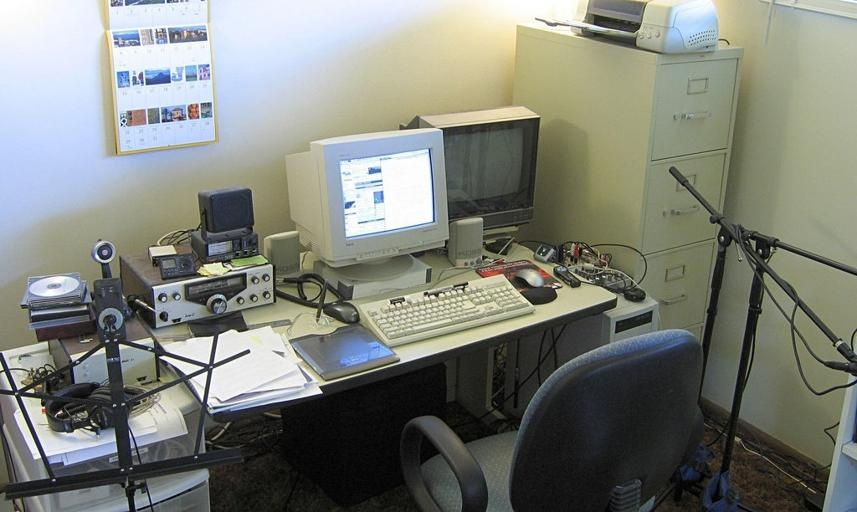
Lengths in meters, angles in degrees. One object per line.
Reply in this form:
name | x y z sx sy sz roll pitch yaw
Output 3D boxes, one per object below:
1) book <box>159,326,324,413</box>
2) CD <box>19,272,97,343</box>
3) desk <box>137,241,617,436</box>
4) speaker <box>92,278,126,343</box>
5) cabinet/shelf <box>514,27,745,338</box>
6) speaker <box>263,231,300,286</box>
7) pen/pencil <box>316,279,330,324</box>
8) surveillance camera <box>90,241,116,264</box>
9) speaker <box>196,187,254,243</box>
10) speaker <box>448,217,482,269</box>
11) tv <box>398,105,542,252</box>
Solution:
book | -0.757 0.435 2.563 0.391 0.050 0.376 -11 33 -28
CD | -1.539 0.205 2.639 0.242 0.217 0.238 -15 24 -25
desk | -0.033 0.289 3.733 2.602 0.956 1.257 -1 0 -3
speaker | -1.068 0.179 2.156 0.109 0.199 0.091 -10 23 -31
cabinet/shelf | 1.003 -0.574 3.427 0.781 1.998 0.777 -10 23 -27
speaker | -0.738 -0.016 3.159 0.156 0.207 0.116 -16 28 -40
pen/pencil | -0.498 0.193 2.937 0.030 0.029 0.260 -24 39 35
surveillance camera | -1.098 -0.013 2.154 0.088 0.110 0.034 -1 7 -19
speaker | -0.927 -0.198 2.891 0.246 0.197 0.122 -10 23 -14
speaker | 0.183 -0.075 3.281 0.171 0.251 0.155 -5 19 -13
tv | 0.199 -0.382 3.220 0.784 0.638 0.062 -9 21 -28
